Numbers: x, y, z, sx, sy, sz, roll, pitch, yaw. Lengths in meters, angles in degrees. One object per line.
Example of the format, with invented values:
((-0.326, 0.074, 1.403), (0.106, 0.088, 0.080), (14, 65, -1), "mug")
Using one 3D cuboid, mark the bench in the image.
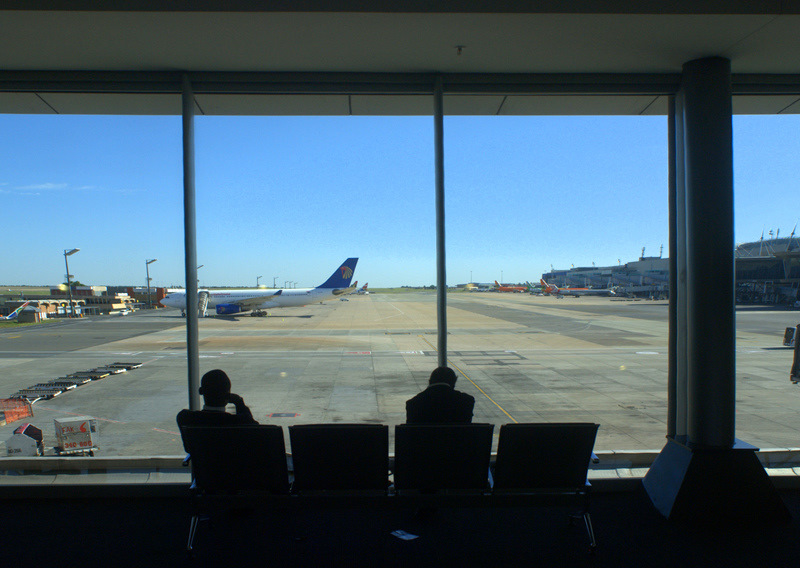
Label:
((-0.071, 1.934, 7.178), (4.082, 1.059, 1.082), (0, 0, -1), "bench")
